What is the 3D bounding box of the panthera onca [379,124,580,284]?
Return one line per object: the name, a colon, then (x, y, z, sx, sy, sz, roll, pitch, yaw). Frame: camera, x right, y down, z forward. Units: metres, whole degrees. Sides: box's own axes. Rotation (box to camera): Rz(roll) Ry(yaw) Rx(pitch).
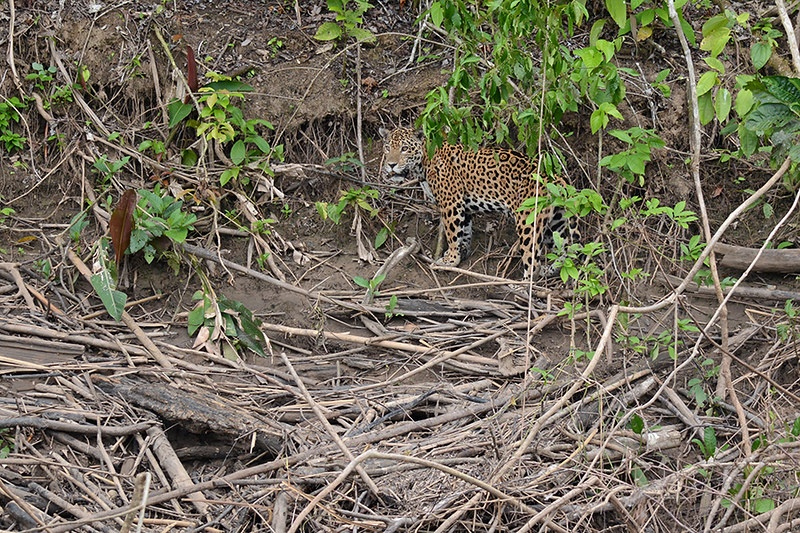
panthera onca: (0.687, -0.623, 7.320, 2.043, 1.041, 0.803, 32, 50, 32)
